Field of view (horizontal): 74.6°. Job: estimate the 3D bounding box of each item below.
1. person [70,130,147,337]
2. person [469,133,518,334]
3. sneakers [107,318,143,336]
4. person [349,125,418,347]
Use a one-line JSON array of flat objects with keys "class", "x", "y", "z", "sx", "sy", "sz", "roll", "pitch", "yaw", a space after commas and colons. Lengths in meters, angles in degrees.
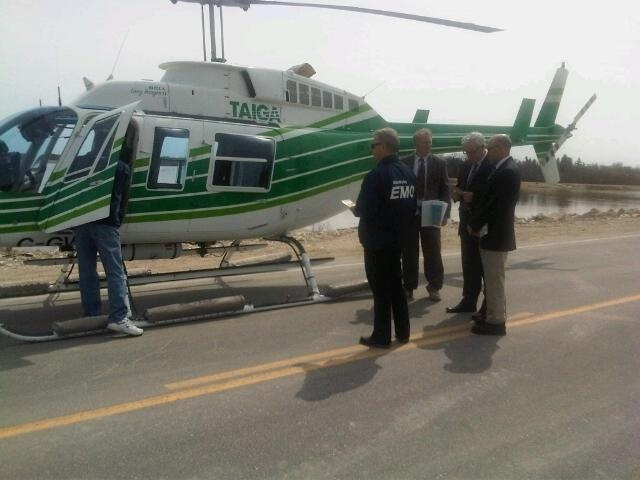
[{"class": "person", "x": -2.592, "y": -0.145, "z": 5.212, "sx": 0.820, "sy": 2.494, "sz": 1.078, "roll": -5, "pitch": 13, "yaw": -22}, {"class": "person", "x": 2.093, "y": -0.059, "z": 5.100, "sx": 0.504, "sy": 2.387, "sz": 0.533, "roll": 5, "pitch": 13, "yaw": 24}, {"class": "sneakers", "x": -2.317, "y": 1.044, "z": 5.150, "sx": 0.511, "sy": 0.190, "sz": 0.174, "roll": 10, "pitch": 20, "yaw": -7}, {"class": "person", "x": 0.734, "y": -0.014, "z": 4.763, "sx": 0.629, "sy": 2.452, "sz": 0.601, "roll": 5, "pitch": 13, "yaw": 22}]
